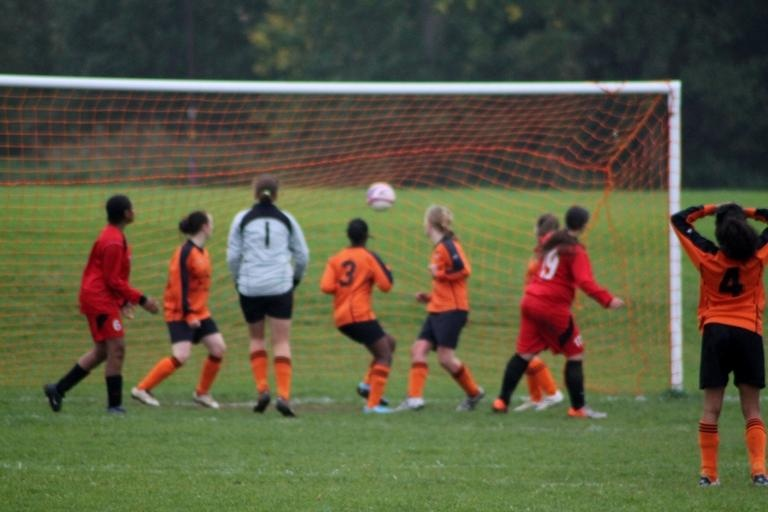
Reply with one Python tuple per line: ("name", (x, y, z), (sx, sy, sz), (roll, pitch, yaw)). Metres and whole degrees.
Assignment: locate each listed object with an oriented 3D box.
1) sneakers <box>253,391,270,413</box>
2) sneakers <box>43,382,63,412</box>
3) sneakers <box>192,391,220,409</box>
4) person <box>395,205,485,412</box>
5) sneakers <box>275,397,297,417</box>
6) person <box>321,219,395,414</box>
("sneakers", (-2.252, 2.682, 26.942), (0.198, 0.221, 0.503), (19, -49, -19))
("sneakers", (-6.064, 2.582, 26.911), (0.297, 0.586, 0.226), (-12, 5, 7))
("sneakers", (-3.328, 2.667, 27.432), (0.595, 0.221, 0.210), (14, 21, 10))
("person", (1.088, 0.943, 27.267), (1.321, 3.785, 0.461), (0, -3, 2))
("sneakers", (-1.793, 2.782, 26.882), (0.202, 0.223, 0.512), (-19, -40, 23))
("person", (-0.465, 1.085, 27.258), (1.283, 3.589, 0.402), (1, -3, 1))
